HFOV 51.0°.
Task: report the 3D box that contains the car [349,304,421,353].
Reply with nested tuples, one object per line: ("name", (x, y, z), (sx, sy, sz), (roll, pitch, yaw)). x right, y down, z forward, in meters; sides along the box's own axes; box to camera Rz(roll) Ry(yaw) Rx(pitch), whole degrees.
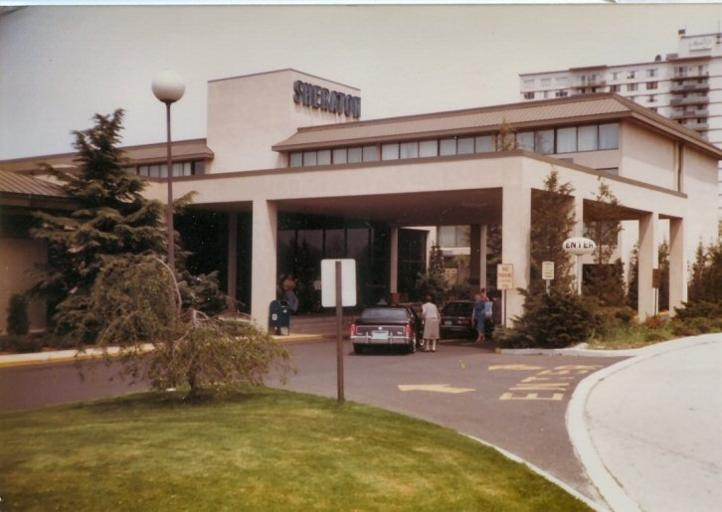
("car", (0.774, 2.400, 24.583), (2.083, 1.459, 1.200), (2, 6, 2))

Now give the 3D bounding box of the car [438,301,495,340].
("car", (3.895, 2.562, 29.934), (1.160, 1.124, 2.189), (-1, 3, 34))
